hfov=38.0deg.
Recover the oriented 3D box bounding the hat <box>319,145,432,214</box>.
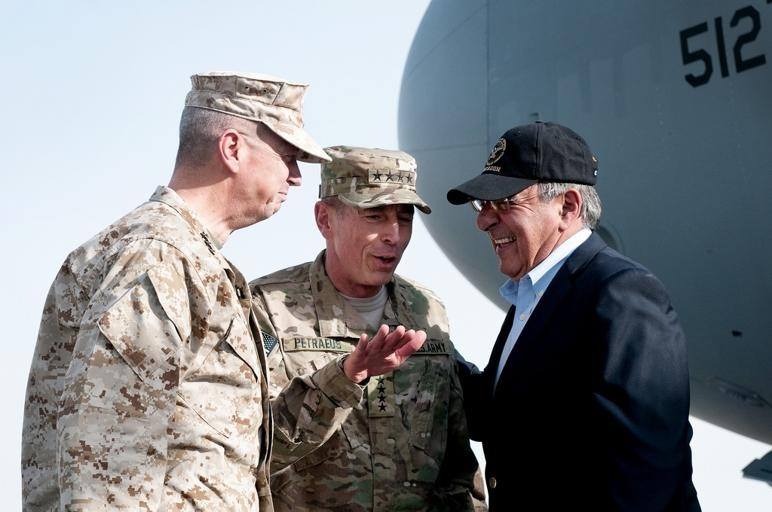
[{"bbox_3d":[-0.076,-0.473,6.801,0.520,0.373,0.663,3,1,-43],"label":"hat"}]

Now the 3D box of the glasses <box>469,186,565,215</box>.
[{"bbox_3d":[0.756,-0.321,6.219,0.345,0.105,0.216,-13,1,-3],"label":"glasses"}]
